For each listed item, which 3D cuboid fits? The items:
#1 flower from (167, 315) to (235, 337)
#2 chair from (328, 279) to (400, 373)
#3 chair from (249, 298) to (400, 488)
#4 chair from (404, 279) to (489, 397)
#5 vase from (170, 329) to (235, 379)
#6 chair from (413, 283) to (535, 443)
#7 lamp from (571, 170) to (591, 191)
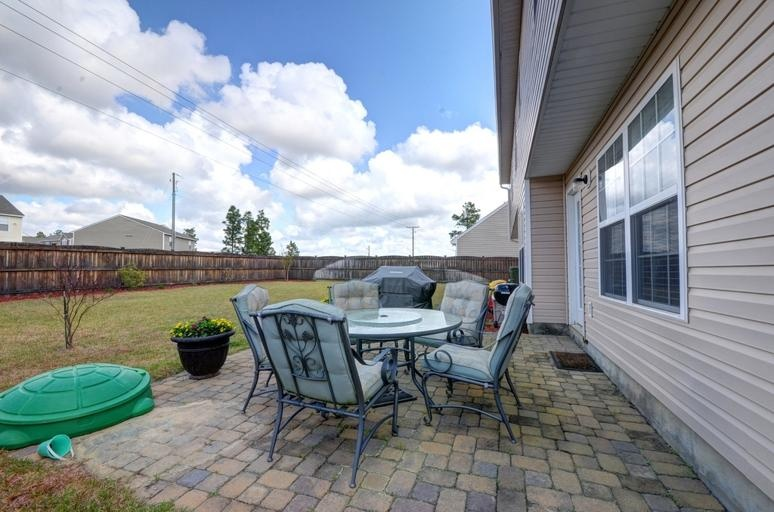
[{"bbox_3d":[-2.665,1.074,6.322,0.807,0.232,0.356,-1,5,-20],"label":"flower"},{"bbox_3d":[-0.565,1.036,7.534,1.100,1.559,1.292,1,-10,-21],"label":"chair"},{"bbox_3d":[-0.902,1.369,5.845,1.614,2.432,2.091,0,2,22],"label":"chair"},{"bbox_3d":[0.927,1.106,6.712,1.142,1.298,0.970,-4,5,-39],"label":"chair"},{"bbox_3d":[-2.700,1.436,6.431,0.764,0.573,0.770,-6,1,-22],"label":"vase"},{"bbox_3d":[1.180,1.281,5.607,1.237,1.840,0.889,3,6,18],"label":"chair"},{"bbox_3d":[3.394,-1.282,7.546,0.250,0.376,0.346,1,1,3],"label":"lamp"}]
